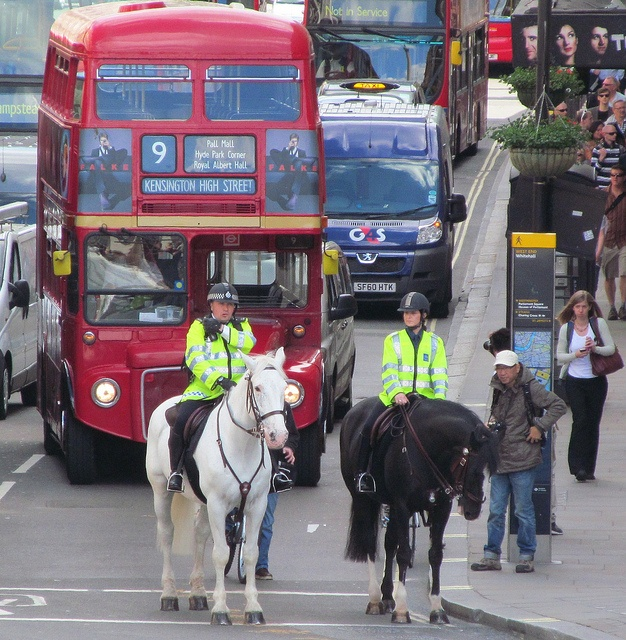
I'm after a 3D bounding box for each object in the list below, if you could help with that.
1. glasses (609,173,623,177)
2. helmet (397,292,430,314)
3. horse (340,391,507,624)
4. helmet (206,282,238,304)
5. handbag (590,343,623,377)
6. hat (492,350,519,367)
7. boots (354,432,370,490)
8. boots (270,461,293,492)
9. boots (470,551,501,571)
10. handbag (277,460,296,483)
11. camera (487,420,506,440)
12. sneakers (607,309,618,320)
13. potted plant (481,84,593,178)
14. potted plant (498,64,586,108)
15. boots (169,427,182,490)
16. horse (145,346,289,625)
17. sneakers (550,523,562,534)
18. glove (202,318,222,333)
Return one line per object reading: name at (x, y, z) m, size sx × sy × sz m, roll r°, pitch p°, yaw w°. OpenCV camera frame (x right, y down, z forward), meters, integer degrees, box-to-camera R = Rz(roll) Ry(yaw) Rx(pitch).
glasses at (4.343, -2.068, 26.060) m, size 0.194 × 0.038 × 0.114 m, roll -2°, pitch 4°, yaw -21°
helmet at (0.911, -0.146, 16.074) m, size 0.153 × 0.148 × 0.240 m, roll 0°, pitch -1°, yaw 17°
horse at (0.825, 1.622, 15.796) m, size 0.764 × 1.883 × 2.079 m, roll -2°, pitch 3°, yaw -23°
helmet at (-0.788, -0.224, 16.043) m, size 0.246 × 0.192 × 0.277 m, roll -1°, pitch 3°, yaw -5°
handbag at (3.154, 0.435, 19.794) m, size 0.368 × 0.457 × 0.152 m, roll -11°, pitch -2°, yaw -1°
hat at (1.755, 0.357, 16.630) m, size 0.216 × 0.151 × 0.385 m, roll -1°, pitch 3°, yaw 7°
boots at (0.464, 1.242, 16.011) m, size 0.147 × 0.574 × 0.154 m, roll 13°, pitch 25°, yaw 29°
boots at (-0.278, 1.393, 16.207) m, size 0.249 × 0.334 × 0.211 m, roll 1°, pitch 5°, yaw -11°
boots at (1.595, 2.233, 16.763) m, size 0.293 × 0.188 × 0.133 m, roll 1°, pitch 0°, yaw -2°
handbag at (-0.220, 1.353, 16.330) m, size 0.170 × 0.279 × 0.229 m, roll -2°, pitch -9°, yaw -3°
camera at (1.544, 0.915, 15.320) m, size 0.060 × 0.168 × 0.162 m, roll -4°, pitch 44°, yaw -49°
sneakers at (4.444, -0.074, 27.177) m, size 0.129 × 0.208 × 0.435 m, roll -1°, pitch 0°, yaw 5°
potted plant at (2.641, -2.187, 20.996) m, size 0.850 × 1.045 × 0.883 m, roll 2°, pitch 6°, yaw 35°
potted plant at (3.589, -3.676, 29.294) m, size 0.776 × 0.612 × 0.851 m, roll 8°, pitch 15°, yaw -28°
boots at (-1.175, 1.144, 15.768) m, size 0.120 × 0.640 × 0.261 m, roll 1°, pitch 16°, yaw 0°
horse at (-0.804, 1.377, 15.526) m, size 0.860 × 2.293 × 2.261 m, roll -2°, pitch 3°, yaw -25°
sneakers at (2.373, 2.065, 17.851) m, size 0.070 × 0.104 × 0.220 m, roll -1°, pitch -5°, yaw 2°
glove at (-0.870, 0.052, 15.858) m, size 0.100 × 0.082 × 0.154 m, roll 13°, pitch 0°, yaw -6°
